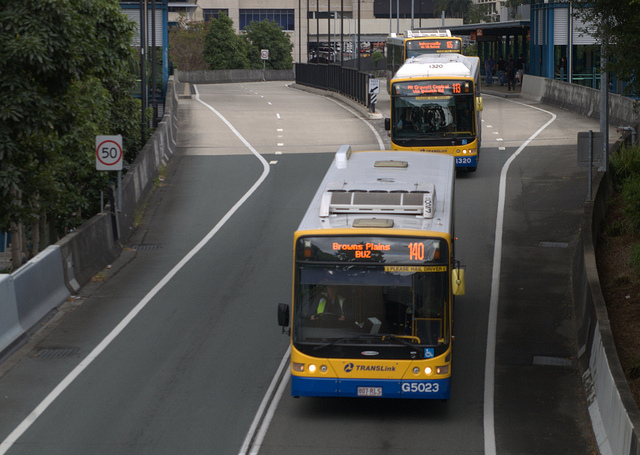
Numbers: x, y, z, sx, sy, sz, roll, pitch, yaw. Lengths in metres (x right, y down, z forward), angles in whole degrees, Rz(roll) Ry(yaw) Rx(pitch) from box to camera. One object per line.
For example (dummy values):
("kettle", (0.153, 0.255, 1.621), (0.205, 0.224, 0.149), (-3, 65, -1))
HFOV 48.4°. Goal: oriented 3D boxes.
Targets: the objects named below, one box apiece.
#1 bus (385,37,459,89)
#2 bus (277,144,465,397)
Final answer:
("bus", (7.307, -12.797, 53.999), (3.112, 4.052, 12.061), (-2, 12, -1))
("bus", (1.268, 0.513, 14.981), (2.245, 2.592, 5.746), (2, 21, 5))
